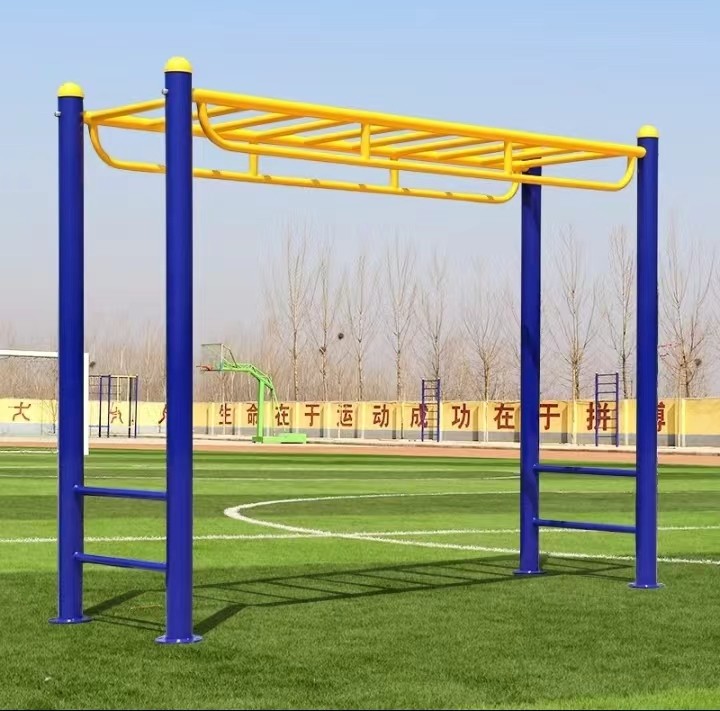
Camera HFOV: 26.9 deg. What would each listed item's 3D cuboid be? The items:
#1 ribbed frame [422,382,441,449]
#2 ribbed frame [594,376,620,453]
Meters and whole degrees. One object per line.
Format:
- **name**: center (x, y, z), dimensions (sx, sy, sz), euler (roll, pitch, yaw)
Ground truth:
- **ribbed frame**: center (2.366, 1.938, 50.985), dimensions (0.682, 2.392, 0.159), euler (1, -20, -1)
- **ribbed frame**: center (7.415, 1.796, 45.148), dimensions (0.874, 2.443, 0.962), euler (2, -6, -12)
